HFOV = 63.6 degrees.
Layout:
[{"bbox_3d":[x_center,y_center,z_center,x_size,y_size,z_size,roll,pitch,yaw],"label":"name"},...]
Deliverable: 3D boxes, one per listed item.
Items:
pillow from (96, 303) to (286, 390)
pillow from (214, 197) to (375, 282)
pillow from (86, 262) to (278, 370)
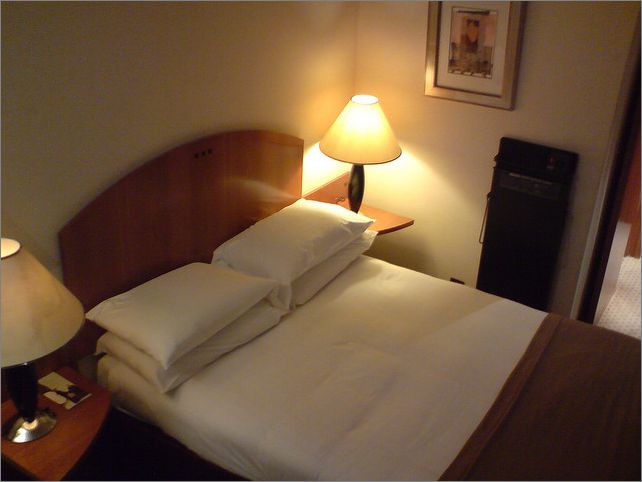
[{"bbox_3d":[-0.633,0.465,2.440,0.392,0.139,0.613,23,35,34],"label":"pillow"},{"bbox_3d":[-0.226,0.004,2.882,0.493,0.188,0.760,20,35,30],"label":"pillow"},{"bbox_3d":[-0.747,0.289,2.397,0.505,0.132,0.621,15,27,30],"label":"pillow"}]
